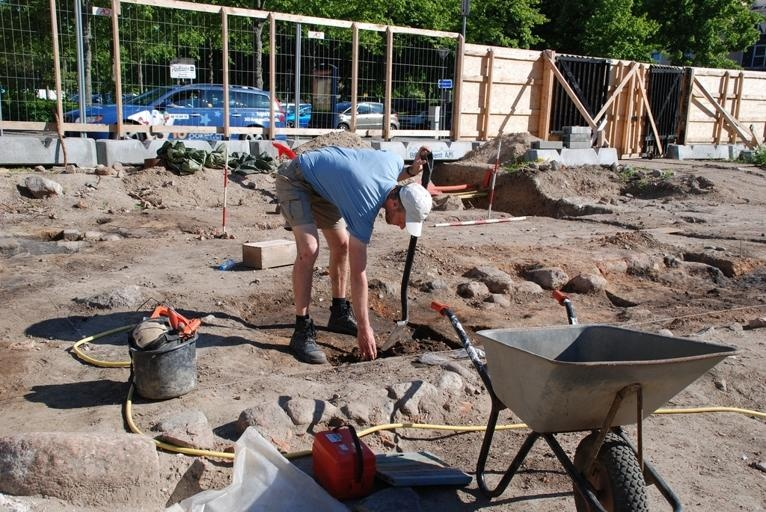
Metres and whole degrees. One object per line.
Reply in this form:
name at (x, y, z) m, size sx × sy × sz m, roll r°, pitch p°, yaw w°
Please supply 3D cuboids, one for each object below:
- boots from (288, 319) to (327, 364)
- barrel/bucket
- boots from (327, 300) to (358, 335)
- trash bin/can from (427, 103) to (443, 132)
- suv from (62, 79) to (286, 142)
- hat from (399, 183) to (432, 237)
boots at (-0.798, 0.876, 7.951) m, size 0.262 × 0.373 × 0.612 m, roll -7°, pitch 21°, yaw -36°
barrel/bucket at (-2.113, 1.041, 7.158) m, size 0.581 × 0.533 × 0.587 m, roll 0°, pitch 16°, yaw 0°
boots at (-0.373, 0.683, 8.447) m, size 0.522 × 0.382 × 0.187 m, roll 6°, pitch 14°, yaw 15°
trash bin/can at (1.157, -3.162, 17.117) m, size 0.365 × 0.535 × 0.240 m, roll 12°, pitch 17°, yaw 38°
suv at (-4.122, -2.973, 15.034) m, size 3.704 × 1.216 × 1.545 m, roll 1°, pitch 11°, yaw -22°
hat at (0.299, -0.418, 7.050) m, size 0.299 × 0.504 × 0.339 m, roll 1°, pitch 13°, yaw 0°
